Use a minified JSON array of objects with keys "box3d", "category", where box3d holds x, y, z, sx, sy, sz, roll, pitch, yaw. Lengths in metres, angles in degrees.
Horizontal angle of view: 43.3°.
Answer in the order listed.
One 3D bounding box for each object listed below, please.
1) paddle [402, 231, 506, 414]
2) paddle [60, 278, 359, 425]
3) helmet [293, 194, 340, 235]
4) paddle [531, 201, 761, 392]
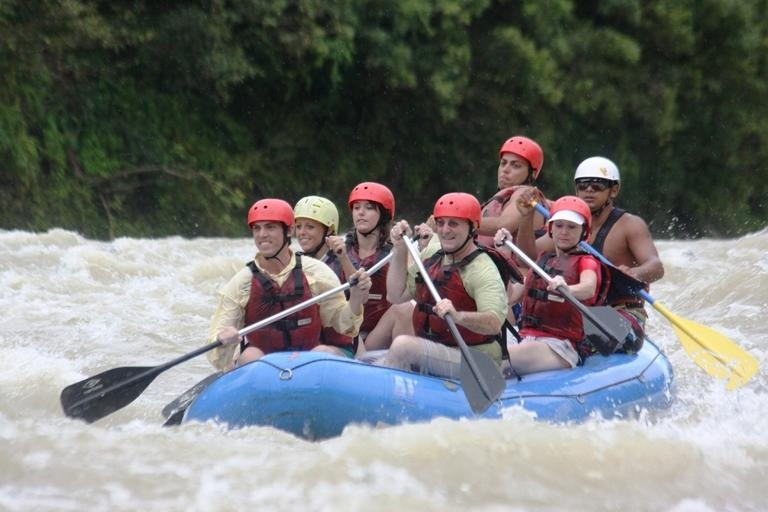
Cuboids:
[{"box3d":[0.845,0.845,11.342,0.466,0.098,2.567,4,35,-22],"category":"paddle"},{"box3d":[-2.112,1.223,11.724,3.487,0.547,0.187,-25,10,-6],"category":"paddle"},{"box3d":[-0.844,-0.506,12.088,0.381,0.434,0.506,15,18,43],"category":"helmet"},{"box3d":[3.489,0.617,12.832,4.055,0.640,0.282,44,6,7],"category":"paddle"}]
